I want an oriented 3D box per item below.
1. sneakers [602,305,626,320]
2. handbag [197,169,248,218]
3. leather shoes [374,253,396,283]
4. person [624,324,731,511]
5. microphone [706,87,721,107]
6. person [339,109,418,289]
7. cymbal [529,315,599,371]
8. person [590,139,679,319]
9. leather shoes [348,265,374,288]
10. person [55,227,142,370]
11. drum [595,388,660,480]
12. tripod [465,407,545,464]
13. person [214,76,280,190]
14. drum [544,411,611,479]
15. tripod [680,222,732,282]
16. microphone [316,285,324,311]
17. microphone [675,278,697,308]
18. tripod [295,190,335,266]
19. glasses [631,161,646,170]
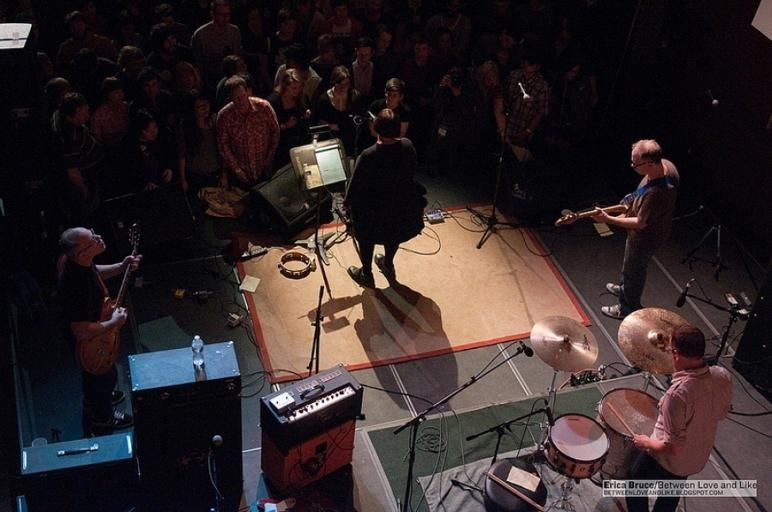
[{"bbox_3d":[3.521,0.866,9.170,0.438,0.188,0.150,14,47,11],"label":"sneakers"},{"bbox_3d":[-2.771,-1.051,10.049,0.805,0.266,0.799,-15,64,-24],"label":"handbag"},{"bbox_3d":[-0.014,0.194,9.347,0.211,0.239,0.556,-14,44,-14],"label":"leather shoes"},{"bbox_3d":[3.189,1.693,6.357,0.953,1.867,0.603,-13,31,-22],"label":"person"},{"bbox_3d":[5.827,-2.804,10.493,0.152,0.296,0.299,-4,28,-6],"label":"microphone"},{"bbox_3d":[-0.034,-0.681,8.405,1.086,2.820,0.392,2,28,4],"label":"person"},{"bbox_3d":[2.191,1.090,7.311,0.774,0.418,0.613,7,29,13],"label":"cymbal"},{"bbox_3d":[3.658,-0.336,8.654,0.915,2.737,0.617,9,30,16],"label":"person"},{"bbox_3d":[-0.459,0.304,9.205,0.512,0.236,0.203,39,59,22],"label":"leather shoes"},{"bbox_3d":[-3.491,0.548,6.968,0.387,1.814,0.918,-12,-11,13],"label":"person"},{"bbox_3d":[2.821,2.102,6.877,0.711,0.710,0.706,-11,45,-9],"label":"drum"},{"bbox_3d":[1.588,2.241,7.707,0.781,0.488,0.790,2,27,26],"label":"tripod"},{"bbox_3d":[-2.289,-1.999,9.749,1.000,1.893,0.383,-8,29,-15],"label":"person"},{"bbox_3d":[2.197,2.172,6.764,0.684,0.291,0.685,1,47,-1],"label":"drum"},{"bbox_3d":[5.501,-0.152,10.018,0.662,0.635,1.179,18,33,29],"label":"tripod"},{"bbox_3d":[-0.857,0.565,7.753,0.101,0.623,0.125,-23,61,-21],"label":"microphone"},{"bbox_3d":[4.670,0.597,9.185,0.115,0.453,0.138,27,3,-9],"label":"microphone"},{"bbox_3d":[-1.211,-0.449,9.726,0.673,1.015,0.622,24,42,17],"label":"tripod"},{"bbox_3d":[3.461,-1.235,8.092,0.164,0.050,0.162,2,23,-3],"label":"glasses"}]
